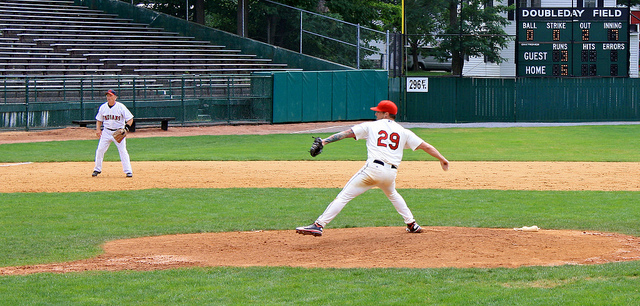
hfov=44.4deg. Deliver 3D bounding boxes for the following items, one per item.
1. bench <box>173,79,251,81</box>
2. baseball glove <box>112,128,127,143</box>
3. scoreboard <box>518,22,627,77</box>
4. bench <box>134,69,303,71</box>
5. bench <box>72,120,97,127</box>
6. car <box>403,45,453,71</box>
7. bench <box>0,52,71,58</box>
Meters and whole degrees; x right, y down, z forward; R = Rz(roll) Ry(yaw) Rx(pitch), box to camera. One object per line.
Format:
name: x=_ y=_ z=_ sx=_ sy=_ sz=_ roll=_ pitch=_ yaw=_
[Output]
bench: x=-7.124 y=-4.882 z=51.825 sx=5.052 sy=0.088 sz=0.553 roll=-2 pitch=4 yaw=-18
baseball glove: x=-9.382 y=-0.861 z=36.567 sx=0.594 sy=0.674 sz=0.258 roll=-3 pitch=6 yaw=-23
scoreboard: x=17.099 y=-7.101 z=52.845 sx=6.932 sy=3.533 sz=1.084 roll=-1 pitch=5 yaw=3
bench: x=-9.061 y=-5.781 z=53.875 sx=6.787 sy=0.107 sz=1.532 roll=-2 pitch=4 yaw=-15
bench: x=-14.422 y=-1.855 z=47.794 sx=1.358 sy=0.391 sz=1.194 roll=-2 pitch=4 yaw=-16
car: x=8.464 y=-6.856 z=56.946 sx=4.879 sy=1.461 sz=1.956 roll=-2 pitch=10 yaw=-2
bench: x=-18.499 y=-6.486 z=51.099 sx=4.101 sy=0.287 sz=0.482 roll=-3 pitch=5 yaw=-33
